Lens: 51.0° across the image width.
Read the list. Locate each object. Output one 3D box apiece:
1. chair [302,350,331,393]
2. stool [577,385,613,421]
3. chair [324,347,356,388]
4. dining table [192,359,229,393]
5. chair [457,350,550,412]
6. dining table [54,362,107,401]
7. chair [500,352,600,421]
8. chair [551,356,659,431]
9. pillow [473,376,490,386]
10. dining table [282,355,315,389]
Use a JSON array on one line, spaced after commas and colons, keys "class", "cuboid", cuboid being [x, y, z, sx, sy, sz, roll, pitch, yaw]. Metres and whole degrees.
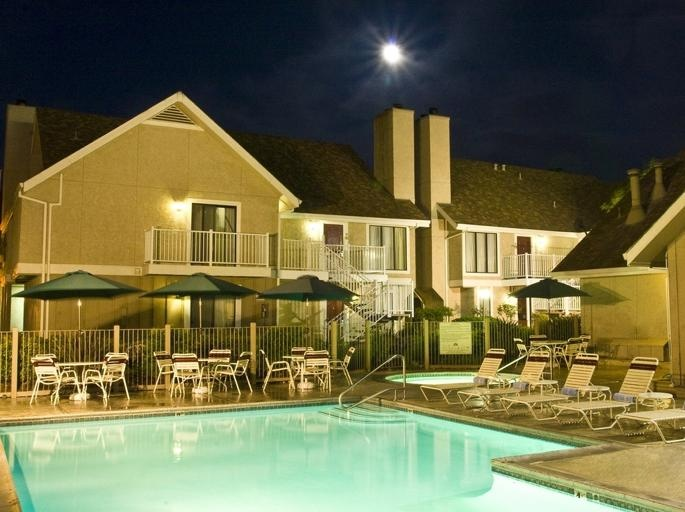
[{"class": "chair", "cuboid": [-0.961, 3.814, 24.338, 1.160, 1.453, 1.190, 2, 4, 15]}, {"class": "stool", "cuboid": [7.133, 4.004, 20.042, 1.122, 0.983, 1.130, -1, 3, 6]}, {"class": "chair", "cuboid": [-0.163, 4.036, 26.130, 1.005, 1.328, 0.925, 2, -6, 13]}, {"class": "dining table", "cuboid": [-4.551, 4.023, 24.195, 1.020, 1.704, 1.190, 2, 0, -28]}, {"class": "chair", "cuboid": [4.788, 3.694, 21.295, 3.211, 1.706, 1.512, 3, -8, -36]}, {"class": "dining table", "cuboid": [-8.643, 3.864, 23.185, 1.264, 0.943, 1.222, 22, 9, 11]}, {"class": "chair", "cuboid": [5.492, 3.596, 19.851, 2.946, 1.919, 1.511, 3, -6, -28]}, {"class": "chair", "cuboid": [7.003, 3.527, 18.600, 2.306, 1.484, 1.268, -4, -5, -19]}, {"class": "pillow", "cuboid": [4.303, 3.842, 21.951, 0.493, 0.264, 0.511, 1, -4, -21]}, {"class": "dining table", "cuboid": [-1.527, 4.069, 24.878, 1.246, 1.222, 1.169, 0, 1, 0]}]
